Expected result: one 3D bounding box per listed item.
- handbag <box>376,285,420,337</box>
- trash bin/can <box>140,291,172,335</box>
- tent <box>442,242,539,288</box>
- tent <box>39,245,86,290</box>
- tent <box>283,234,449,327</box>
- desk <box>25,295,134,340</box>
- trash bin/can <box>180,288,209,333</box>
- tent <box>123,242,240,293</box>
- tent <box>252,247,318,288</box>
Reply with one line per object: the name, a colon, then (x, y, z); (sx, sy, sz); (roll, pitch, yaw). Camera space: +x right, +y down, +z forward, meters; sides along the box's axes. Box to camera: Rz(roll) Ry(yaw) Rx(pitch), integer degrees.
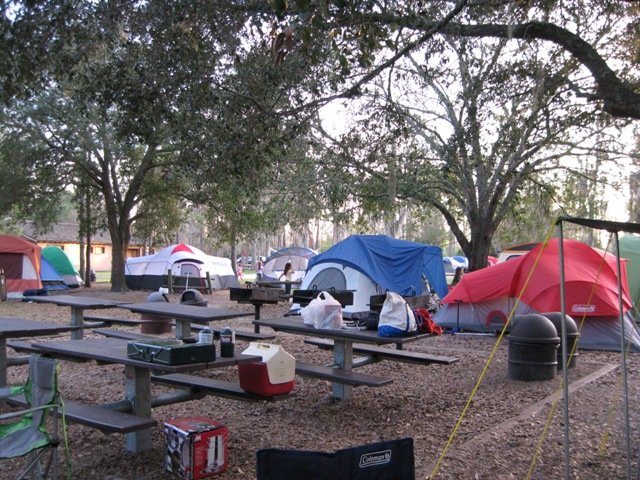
handbag: (1.027, 0.993, 7.237); (0.416, 0.659, 0.591); (-5, 3, -42)
trash bin/can: (-3.752, 1.739, 12.315); (0.559, 1.064, 0.674); (-1, -14, -5)
tent: (5.755, 0.802, 18.262); (1.901, 1.339, 2.513); (-2, -8, -4)
tent: (-12.256, 1.457, 25.652); (1.882, 1.014, 1.950); (3, 5, 36)
tent: (1.743, 0.508, 15.487); (3.580, 1.485, 2.483); (3, 16, -31)
desk: (-4.361, 1.480, 9.753); (1.118, 0.631, 0.631); (-13, -3, 35)
trash bin/can: (-3.137, 1.535, 13.042); (0.556, 0.740, 0.803); (-2, -5, 11)
tent: (-6.659, 1.354, 25.838); (5.116, 2.313, 3.654); (1, 1, -22)
tent: (-2.139, 1.361, 29.876); (2.189, 1.708, 2.439); (0, -6, 1)
